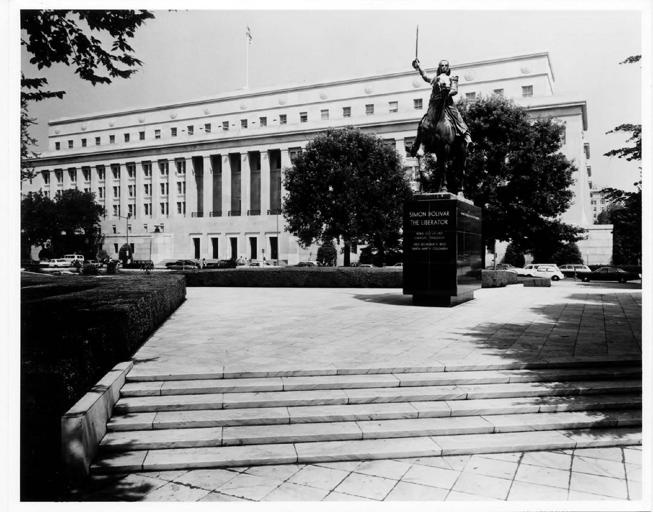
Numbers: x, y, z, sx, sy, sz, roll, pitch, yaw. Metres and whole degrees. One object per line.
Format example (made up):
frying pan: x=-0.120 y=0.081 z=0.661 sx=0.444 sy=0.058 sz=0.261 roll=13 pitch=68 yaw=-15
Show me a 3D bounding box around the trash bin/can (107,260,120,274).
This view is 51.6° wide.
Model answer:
trash bin/can: x=-11.918 y=0.567 z=37.816 sx=0.507 sy=0.628 sz=1.267 roll=2 pitch=2 yaw=-14
